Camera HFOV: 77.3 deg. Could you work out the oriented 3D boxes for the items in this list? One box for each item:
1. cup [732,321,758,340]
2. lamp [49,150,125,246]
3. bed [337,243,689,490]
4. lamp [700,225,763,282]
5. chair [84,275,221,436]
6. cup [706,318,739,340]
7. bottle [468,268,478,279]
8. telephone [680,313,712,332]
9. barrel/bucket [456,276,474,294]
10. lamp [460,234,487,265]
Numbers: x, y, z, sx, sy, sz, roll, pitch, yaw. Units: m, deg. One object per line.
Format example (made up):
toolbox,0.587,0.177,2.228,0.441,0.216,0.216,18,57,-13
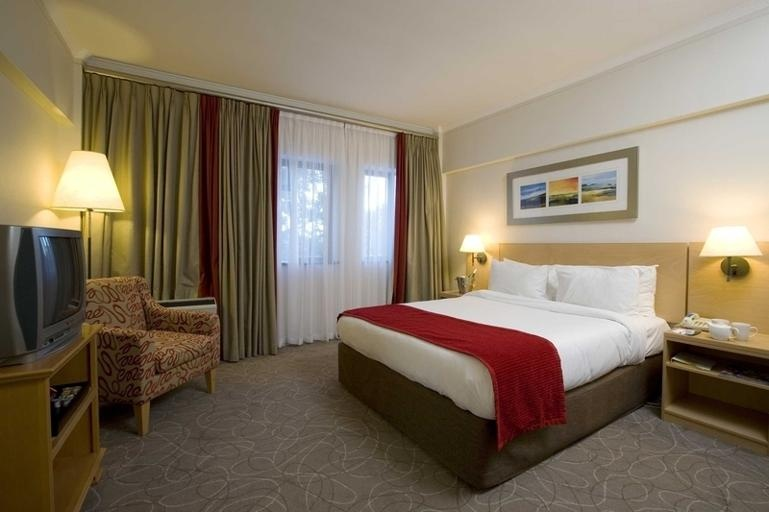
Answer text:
cup,3.169,0.636,4.260,0.246,0.182,0.168,-1,-3,25
lamp,-2.953,-0.682,4.811,0.682,0.704,0.700,-6,-7,24
bed,1.311,1.073,4.686,2.408,1.546,2.351,0,1,-37
lamp,3.180,0.019,4.498,0.459,0.648,0.501,3,-5,-23
chair,-2.259,0.796,4.663,1.005,1.089,1.067,5,2,7
cup,2.974,0.632,4.254,0.156,0.144,0.208,2,0,-31
bottle,1.227,0.229,6.744,0.027,0.114,0.079,28,26,22
telephone,2.863,0.585,4.472,0.167,0.071,0.210,-4,4,-9
barrel/bucket,1.119,0.390,6.668,0.193,0.243,0.239,2,6,20
lamp,1.225,-0.104,6.515,0.363,0.561,0.375,-3,4,-21
